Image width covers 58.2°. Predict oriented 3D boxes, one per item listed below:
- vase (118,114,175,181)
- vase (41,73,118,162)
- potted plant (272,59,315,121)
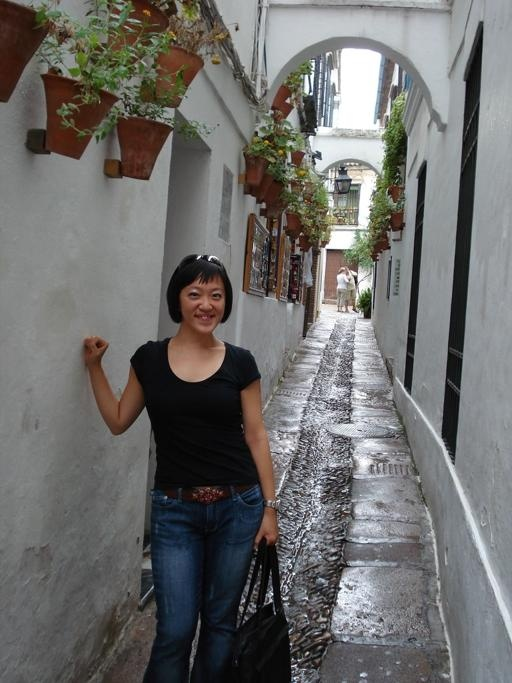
[{"bbox_3d":[-0.422,-0.732,1.695,0.210,0.231,0.214,-6,29,-36],"label":"vase"},{"bbox_3d":[-0.445,-0.549,1.116,0.182,0.174,0.177,33,25,33],"label":"vase"},{"bbox_3d":[0.465,-3.336,6.111,0.434,0.700,1.188,3,1,7],"label":"potted plant"}]
